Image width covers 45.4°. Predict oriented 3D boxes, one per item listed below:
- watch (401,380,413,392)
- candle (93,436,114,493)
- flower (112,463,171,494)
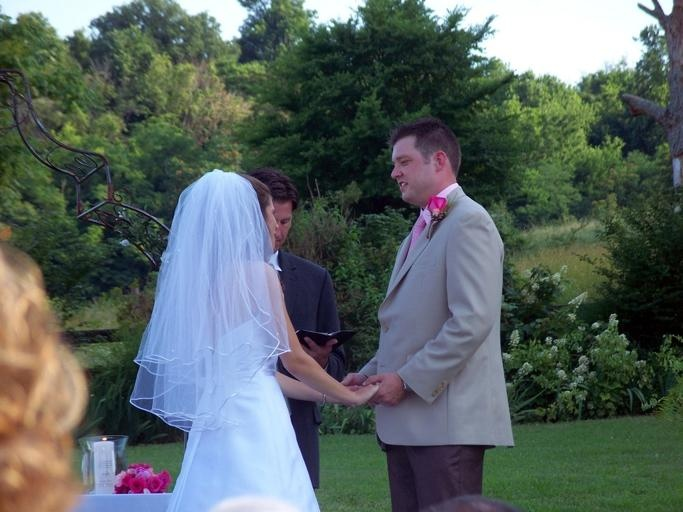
[{"bbox_3d":[0.653,1.303,8.187,0.096,0.104,0.107,-16,-52,9],"label":"watch"},{"bbox_3d":[-2.553,2.265,8.755,0.209,0.532,0.207,3,-17,-35],"label":"candle"},{"bbox_3d":[-2.143,2.419,8.773,0.355,0.276,0.372,4,-18,-12],"label":"flower"}]
